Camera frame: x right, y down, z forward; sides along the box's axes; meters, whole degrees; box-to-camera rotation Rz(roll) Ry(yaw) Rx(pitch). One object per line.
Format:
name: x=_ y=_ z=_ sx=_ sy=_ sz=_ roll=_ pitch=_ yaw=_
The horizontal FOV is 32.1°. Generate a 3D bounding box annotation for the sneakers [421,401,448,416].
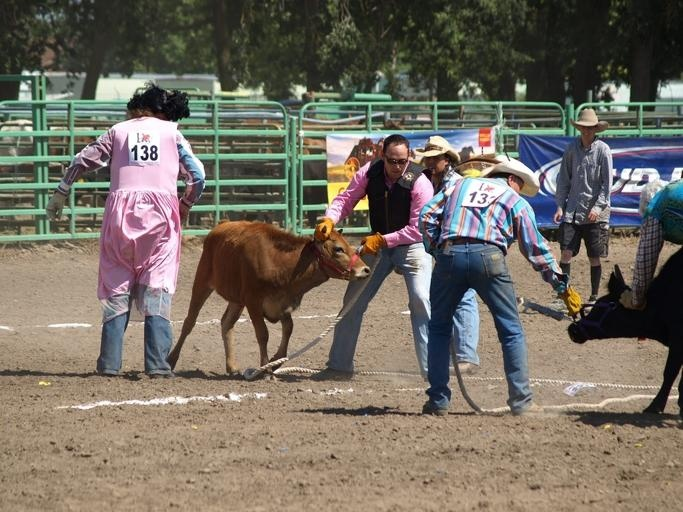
sneakers: x=1.011 y=1.607 z=12.776 sx=0.254 sy=0.183 sz=0.132 roll=3 pitch=0 yaw=21

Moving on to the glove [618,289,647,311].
glove: x=3.155 y=0.466 z=12.838 sx=0.076 sy=0.175 sz=0.216 roll=-43 pitch=37 yaw=-21

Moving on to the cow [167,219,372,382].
cow: x=-0.941 y=0.566 z=14.204 sx=2.717 sy=1.993 sz=0.708 roll=2 pitch=3 yaw=36

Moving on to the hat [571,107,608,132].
hat: x=3.508 y=-1.905 z=16.730 sx=0.399 sy=0.219 sz=0.499 roll=2 pitch=-16 yaw=12

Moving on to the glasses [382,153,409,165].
glasses: x=0.626 y=-1.071 z=13.417 sx=0.246 sy=0.104 sz=0.112 roll=1 pitch=13 yaw=-1

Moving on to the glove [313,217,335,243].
glove: x=-0.171 y=-0.289 z=13.820 sx=0.149 sy=0.266 sz=0.218 roll=13 pitch=30 yaw=-39

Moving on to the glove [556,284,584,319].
glove: x=2.512 y=0.495 z=12.845 sx=0.207 sy=0.296 sz=0.616 roll=-13 pitch=-12 yaw=1

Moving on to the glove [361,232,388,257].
glove: x=0.374 y=-0.125 z=13.653 sx=0.283 sy=0.297 sz=0.285 roll=2 pitch=13 yaw=4
